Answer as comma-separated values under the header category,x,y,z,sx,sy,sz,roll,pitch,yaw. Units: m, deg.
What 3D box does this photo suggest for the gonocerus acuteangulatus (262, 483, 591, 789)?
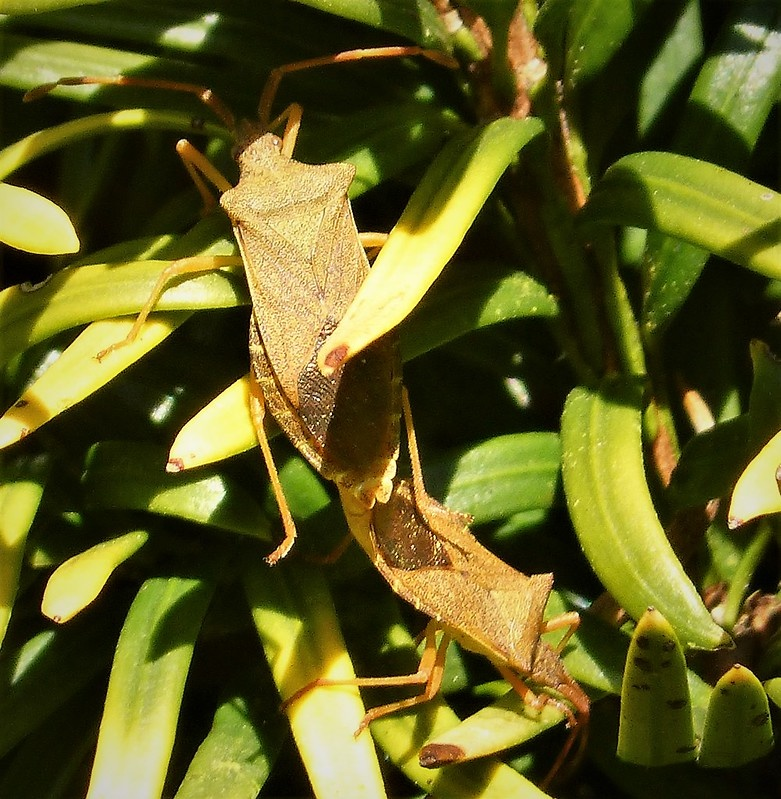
category,x,y,z,sx,sy,sz,roll,pitch,yaw
gonocerus acuteangulatus,0.039,0.271,1.223,0.340,0.097,0.257,52,52,-7
